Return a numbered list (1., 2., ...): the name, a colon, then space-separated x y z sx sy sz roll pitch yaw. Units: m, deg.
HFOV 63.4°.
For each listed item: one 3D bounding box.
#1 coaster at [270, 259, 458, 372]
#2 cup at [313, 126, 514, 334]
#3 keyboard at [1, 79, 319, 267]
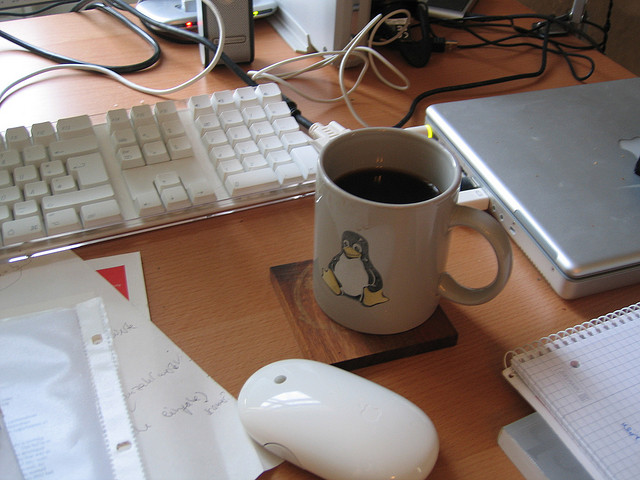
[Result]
1. coaster: 0.049 0.076 0.490 0.129 0.013 0.127 -9 39 -16
2. cup: 0.086 0.002 0.468 0.186 0.132 0.117 25 48 23
3. keyboard: -0.192 -0.095 0.617 0.369 0.076 0.186 -20 56 -12
